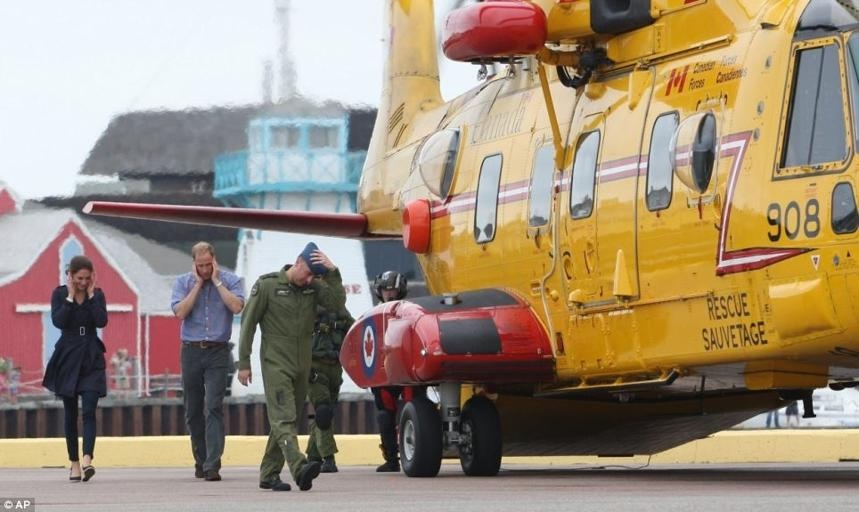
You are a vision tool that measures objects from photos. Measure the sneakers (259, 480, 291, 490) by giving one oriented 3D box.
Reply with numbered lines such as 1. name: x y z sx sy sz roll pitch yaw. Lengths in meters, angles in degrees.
1. sneakers: -2.144 3.261 28.346 0.467 0.190 0.169 -7 -7 29

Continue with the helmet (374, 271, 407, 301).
1. helmet: -0.606 0.509 31.848 0.495 0.458 0.475 1 -39 1
